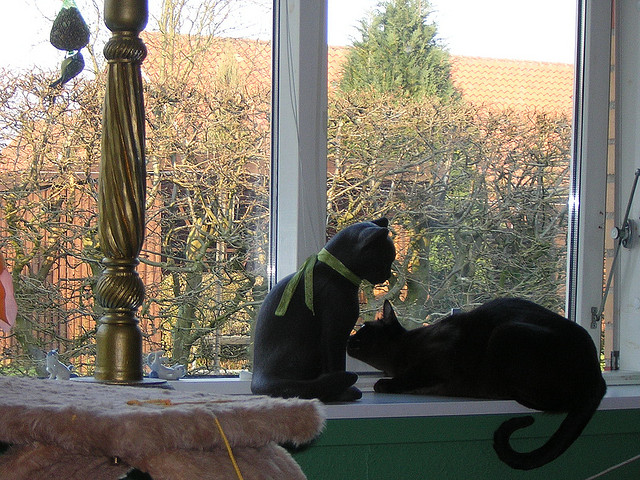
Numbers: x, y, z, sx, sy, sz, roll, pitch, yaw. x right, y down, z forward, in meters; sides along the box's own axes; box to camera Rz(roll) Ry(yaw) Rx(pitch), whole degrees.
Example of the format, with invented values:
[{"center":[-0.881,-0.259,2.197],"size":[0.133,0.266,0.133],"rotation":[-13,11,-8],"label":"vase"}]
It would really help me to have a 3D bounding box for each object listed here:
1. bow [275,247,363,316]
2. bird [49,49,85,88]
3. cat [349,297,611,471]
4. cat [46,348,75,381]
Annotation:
[{"center":[-0.007,0.089,2.262],"size":[0.171,0.142,0.084],"rotation":[-1,3,-29],"label":"bow"},{"center":[-0.626,-0.419,2.597],"size":[0.078,0.087,0.151],"rotation":[0,2,-15],"label":"bird"},{"center":[0.350,0.260,2.367],"size":[0.603,0.237,0.448],"rotation":[8,27,42],"label":"cat"},{"center":[-0.588,0.278,2.370],"size":[0.050,0.056,0.074],"rotation":[-1,3,-31],"label":"cat"}]
